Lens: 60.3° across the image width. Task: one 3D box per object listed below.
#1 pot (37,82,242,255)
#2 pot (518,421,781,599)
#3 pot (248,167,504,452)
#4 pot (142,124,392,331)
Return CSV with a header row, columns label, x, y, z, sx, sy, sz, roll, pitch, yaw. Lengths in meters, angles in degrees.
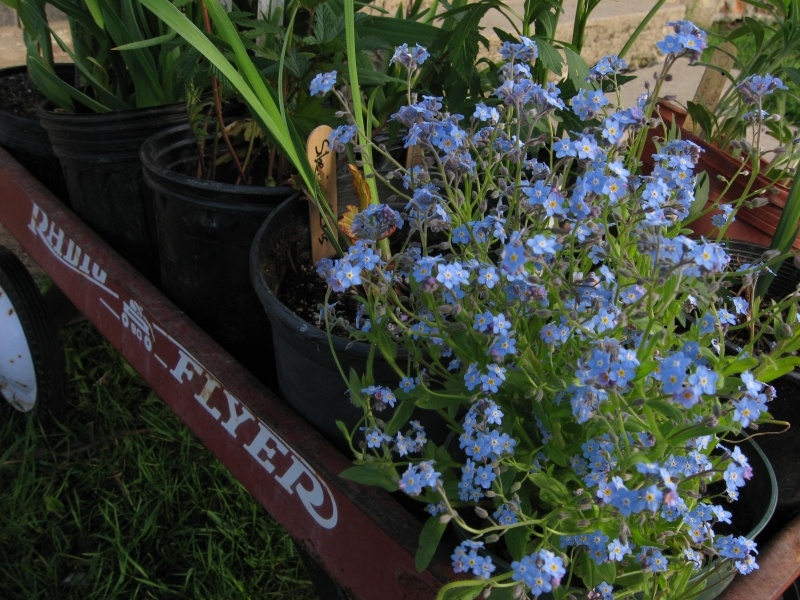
label,x,y,z,sx,sy,sz,roll,pitch,yaw
pot,-0.746,-0.384,2.139,0.399,0.526,0.443,15,37,11
pot,0.645,0.439,1.475,0.262,0.136,0.282,-2,39,2
pot,-0.097,0.118,1.612,0.493,0.386,0.463,2,52,-2
pot,-0.524,-0.194,1.867,0.341,0.354,0.384,7,24,-29
